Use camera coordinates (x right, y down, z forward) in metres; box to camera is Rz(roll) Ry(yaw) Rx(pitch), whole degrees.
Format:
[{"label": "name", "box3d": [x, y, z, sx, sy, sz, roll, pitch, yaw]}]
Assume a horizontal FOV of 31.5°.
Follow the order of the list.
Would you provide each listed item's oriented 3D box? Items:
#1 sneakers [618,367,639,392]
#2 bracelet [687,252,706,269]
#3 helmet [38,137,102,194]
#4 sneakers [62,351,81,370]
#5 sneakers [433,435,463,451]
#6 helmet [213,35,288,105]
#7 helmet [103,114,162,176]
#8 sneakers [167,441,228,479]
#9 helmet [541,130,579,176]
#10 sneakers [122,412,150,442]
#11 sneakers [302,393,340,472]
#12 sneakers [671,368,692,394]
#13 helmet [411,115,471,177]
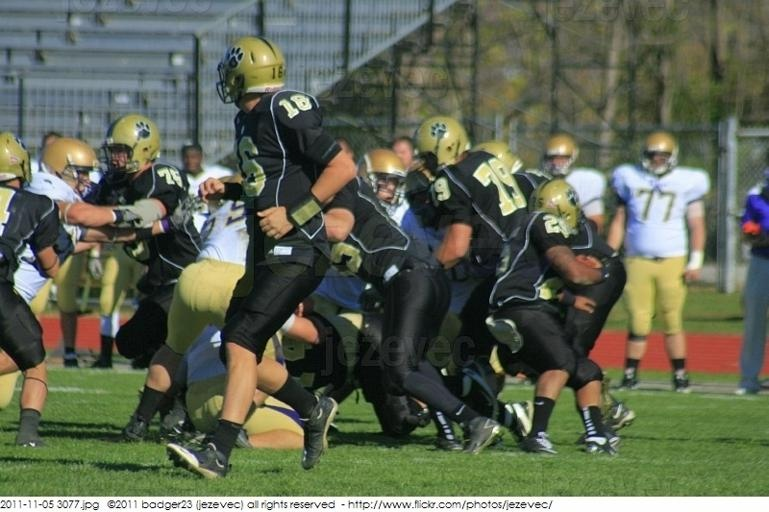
[{"label": "sneakers", "box3d": [2.257, 1.114, 12.328, 0.173, 0.209, 0.195, -6, 20, 7]}, {"label": "bracelet", "box3d": [2.882, 0.041, 12.414, 0.137, 0.173, 0.077, 2, 0, 6]}, {"label": "helmet", "box3d": [-2.571, -0.743, 11.248, 0.504, 0.448, 0.399, 11, 7, -11]}, {"label": "sneakers", "box3d": [-3.052, 1.005, 13.252, 0.169, 0.176, 0.170, 8, 14, 29]}, {"label": "sneakers", "box3d": [0.510, 1.416, 10.190, 0.178, 0.070, 0.090, -4, -7, 22]}, {"label": "helmet", "box3d": [-0.938, -1.320, 9.634, 0.527, 0.435, 0.420, 20, 23, 36]}, {"label": "helmet", "box3d": [-2.069, -0.915, 11.115, 0.550, 0.464, 0.400, 0, 0, -30]}, {"label": "sneakers", "box3d": [-1.252, 1.392, 9.340, 0.490, 0.209, 0.183, 28, -17, -26]}, {"label": "helmet", "box3d": [1.594, -0.906, 12.024, 0.308, 0.374, 0.389, 0, 2, 23]}, {"label": "sneakers", "box3d": [-1.859, 1.302, 10.159, 0.122, 0.116, 0.270, 16, -9, -5]}, {"label": "sneakers", "box3d": [-0.434, 1.248, 9.596, 0.244, 0.519, 0.185, 17, -4, -40]}, {"label": "sneakers", "box3d": [2.745, 1.124, 12.322, 0.177, 0.217, 0.313, 2, 1, 11]}, {"label": "helmet", "box3d": [0.494, -0.931, 11.164, 0.497, 0.472, 0.380, -20, 33, 0]}]
